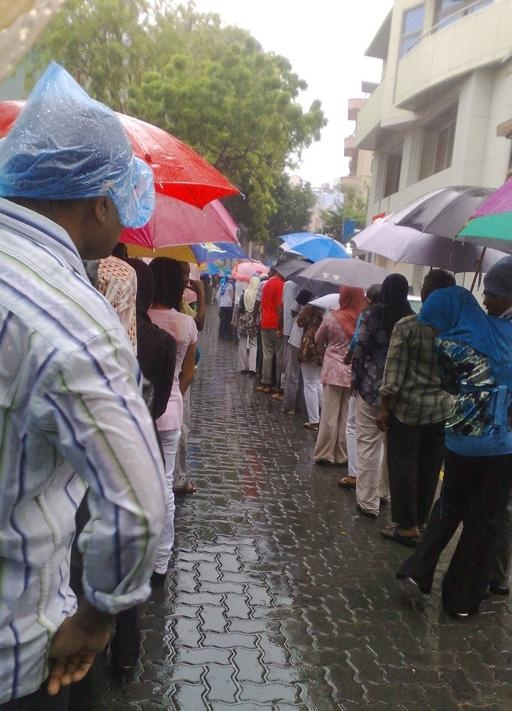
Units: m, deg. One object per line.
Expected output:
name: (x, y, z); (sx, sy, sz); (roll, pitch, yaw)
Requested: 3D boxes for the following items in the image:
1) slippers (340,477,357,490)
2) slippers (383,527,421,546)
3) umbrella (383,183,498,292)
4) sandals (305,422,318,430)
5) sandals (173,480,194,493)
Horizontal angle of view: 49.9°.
slippers: (1.044, 1.440, 6.214); (0.201, 0.144, 0.095); (9, -3, 9)
slippers: (1.266, 1.581, 4.819); (0.301, 0.112, 0.119); (16, 0, 36)
umbrella: (1.822, -1.143, 5.151); (1.062, 0.675, 1.083); (18, 29, 29)
sandals: (0.880, 1.108, 8.715); (0.198, 0.138, 0.093); (12, -12, 7)
sandals: (-0.706, 1.284, 5.385); (0.146, 0.129, 0.111); (-37, 21, -28)
